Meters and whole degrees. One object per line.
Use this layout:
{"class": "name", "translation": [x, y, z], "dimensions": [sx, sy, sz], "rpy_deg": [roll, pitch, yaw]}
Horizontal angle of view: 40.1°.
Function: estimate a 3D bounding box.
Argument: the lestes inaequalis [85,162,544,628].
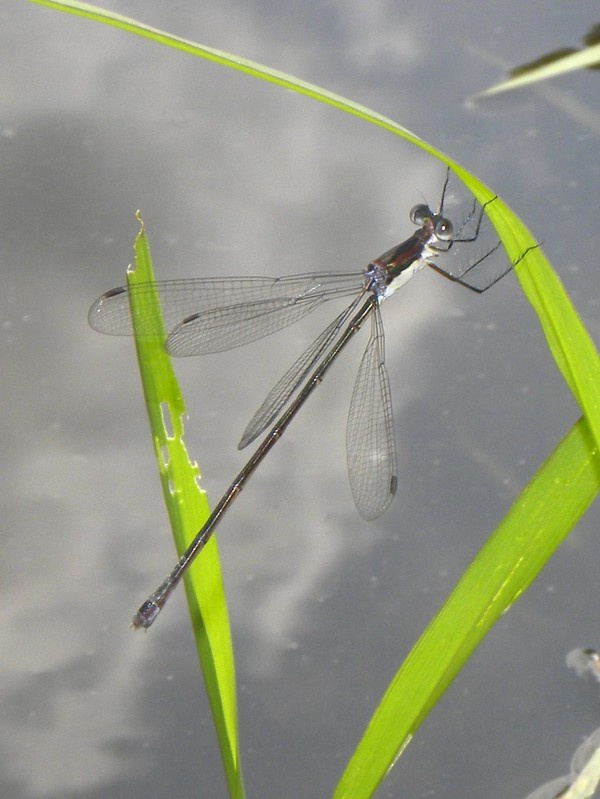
{"class": "lestes inaequalis", "translation": [0.008, -0.048, 1.048], "dimensions": [0.486, 0.465, 0.332], "rpy_deg": [-8, 42, -20]}
